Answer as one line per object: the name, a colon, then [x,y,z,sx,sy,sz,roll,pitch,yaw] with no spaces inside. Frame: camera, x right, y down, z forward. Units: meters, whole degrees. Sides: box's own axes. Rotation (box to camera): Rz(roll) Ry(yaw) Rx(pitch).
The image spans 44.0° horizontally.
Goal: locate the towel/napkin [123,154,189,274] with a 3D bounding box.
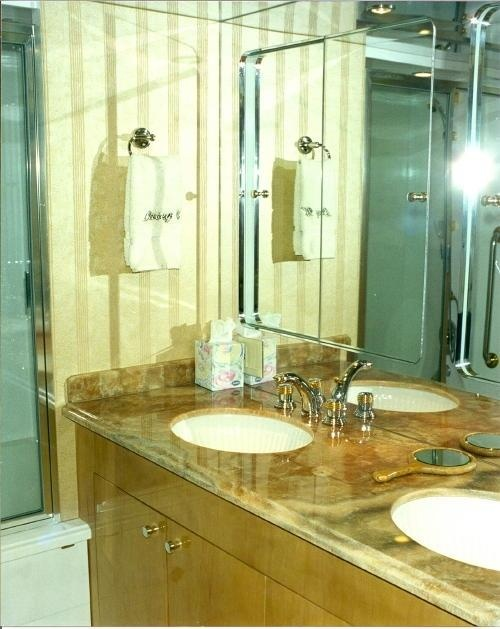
towel/napkin: [-0.278,-0.292,1.766,0.165,0.342,0.078,-9,11,-39]
